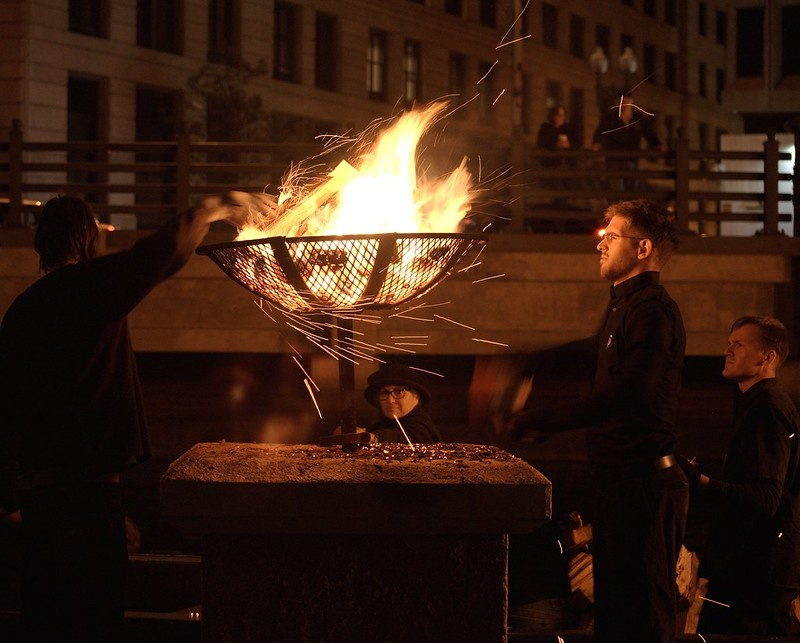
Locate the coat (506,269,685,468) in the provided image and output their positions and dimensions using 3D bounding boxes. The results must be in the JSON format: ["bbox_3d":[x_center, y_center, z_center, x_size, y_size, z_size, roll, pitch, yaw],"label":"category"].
[{"bbox_3d":[1.119,0.287,7.440,0.884,1.165,1.514,5,-1,8],"label":"coat"}]

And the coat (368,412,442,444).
[{"bbox_3d":[0.024,0.686,8.502,0.454,0.207,0.674,-1,9,-2],"label":"coat"}]

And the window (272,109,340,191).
[{"bbox_3d":[-0.826,-1.538,11.233,0.710,0.522,0.484,0,-2,-4],"label":"window"}]

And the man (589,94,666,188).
[{"bbox_3d":[2.327,-1.699,13.526,0.694,1.279,0.439,1,9,7],"label":"man"}]

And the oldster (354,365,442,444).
[{"bbox_3d":[-0.021,0.577,8.665,0.435,0.511,0.505,-7,-23,17],"label":"oldster"}]
